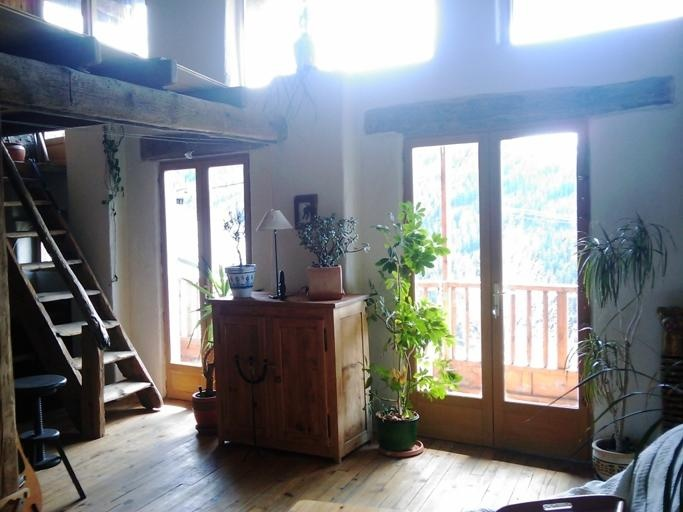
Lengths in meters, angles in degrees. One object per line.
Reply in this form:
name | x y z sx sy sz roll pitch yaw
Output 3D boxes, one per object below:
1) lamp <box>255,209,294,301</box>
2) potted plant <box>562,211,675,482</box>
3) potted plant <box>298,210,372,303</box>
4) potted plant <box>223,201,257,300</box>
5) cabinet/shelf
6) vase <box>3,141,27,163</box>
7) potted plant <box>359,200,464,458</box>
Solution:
lamp | -0.589 -0.036 4.822 0.322 0.780 0.761 -3 8 -8
potted plant | 2.008 0.649 3.919 0.617 1.881 0.764 4 10 32
potted plant | -0.089 -0.011 4.636 0.721 0.850 0.264 1 8 10
potted plant | -0.905 0.007 4.720 0.251 0.686 0.254 -12 -3 9
cabinet/shelf | -0.454 0.994 4.547 1.318 1.306 0.481 1 8 14
vase | -3.568 -1.135 5.805 0.180 0.141 0.180 -3 -1 -40
potted plant | 0.608 0.578 4.605 0.836 2.093 0.761 0 8 7
